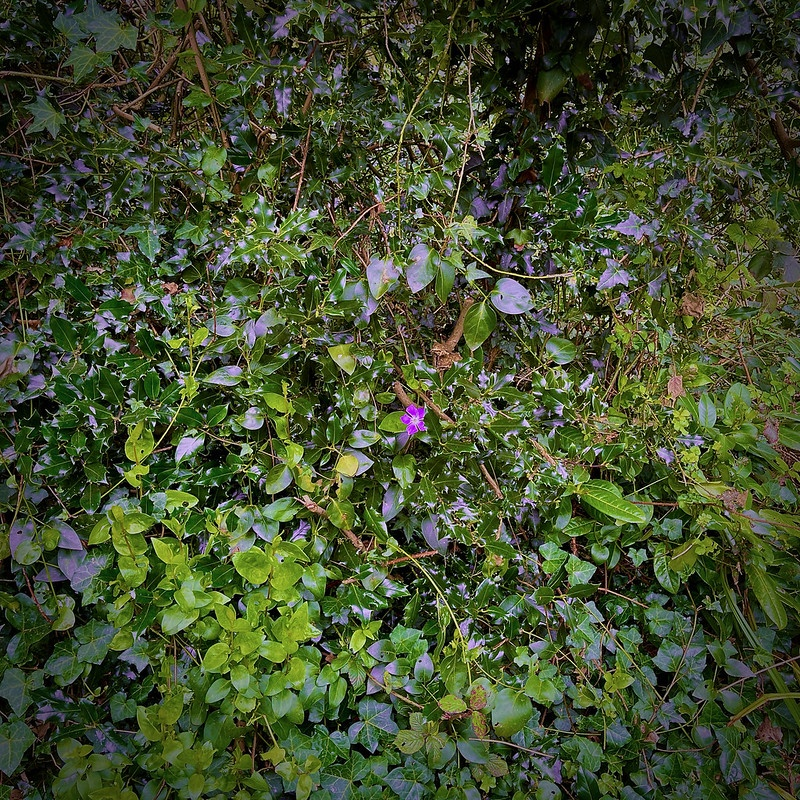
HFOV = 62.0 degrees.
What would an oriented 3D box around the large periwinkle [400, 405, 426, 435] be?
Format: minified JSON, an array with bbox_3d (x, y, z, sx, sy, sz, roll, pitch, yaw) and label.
[{"bbox_3d":[0.030,0.046,1.521,0.056,0.042,0.064,-1,77,-5],"label":"large periwinkle"}]
